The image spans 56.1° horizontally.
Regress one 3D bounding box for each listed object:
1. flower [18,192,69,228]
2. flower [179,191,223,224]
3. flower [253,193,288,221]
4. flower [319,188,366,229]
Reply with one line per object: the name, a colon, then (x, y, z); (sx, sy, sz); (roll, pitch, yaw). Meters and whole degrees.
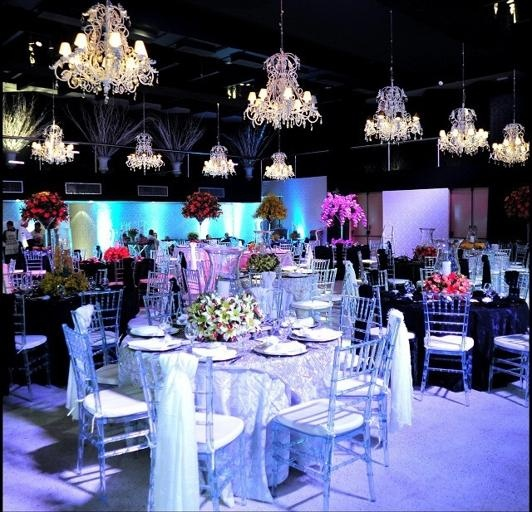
flower: (-2.849, -0.597, 6.475); (0.429, 0.575, 0.475); (1, 3, -5)
flower: (-1.201, -0.954, 9.498); (0.584, 0.746, 0.671); (1, 7, 9)
flower: (0.071, -0.863, 8.695); (0.485, 0.464, 0.786); (-1, 3, -5)
flower: (1.961, -1.242, 13.051); (1.138, 1.121, 1.212); (5, 5, 34)
